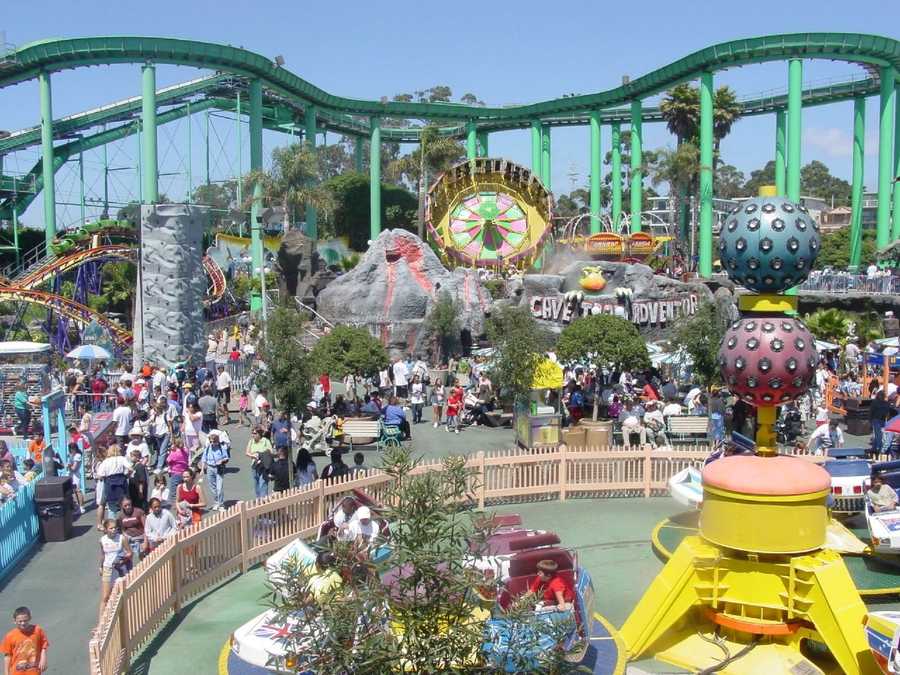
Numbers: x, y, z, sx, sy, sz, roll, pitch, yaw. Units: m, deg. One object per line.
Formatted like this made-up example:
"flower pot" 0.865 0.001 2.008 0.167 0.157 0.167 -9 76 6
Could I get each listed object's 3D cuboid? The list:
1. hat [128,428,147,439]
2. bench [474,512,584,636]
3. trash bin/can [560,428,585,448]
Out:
"hat" -6.420 1.976 23.978 0.357 0.116 0.377 3 -4 -3
"bench" 1.245 3.403 17.192 1.267 1.319 2.344 -2 -8 -6
"trash bin/can" 2.829 2.328 27.012 0.418 0.328 0.433 -1 -11 -5
